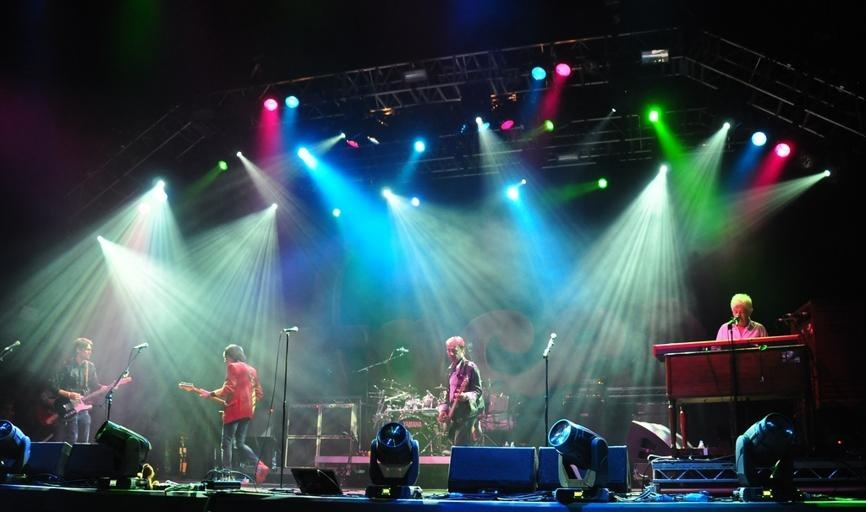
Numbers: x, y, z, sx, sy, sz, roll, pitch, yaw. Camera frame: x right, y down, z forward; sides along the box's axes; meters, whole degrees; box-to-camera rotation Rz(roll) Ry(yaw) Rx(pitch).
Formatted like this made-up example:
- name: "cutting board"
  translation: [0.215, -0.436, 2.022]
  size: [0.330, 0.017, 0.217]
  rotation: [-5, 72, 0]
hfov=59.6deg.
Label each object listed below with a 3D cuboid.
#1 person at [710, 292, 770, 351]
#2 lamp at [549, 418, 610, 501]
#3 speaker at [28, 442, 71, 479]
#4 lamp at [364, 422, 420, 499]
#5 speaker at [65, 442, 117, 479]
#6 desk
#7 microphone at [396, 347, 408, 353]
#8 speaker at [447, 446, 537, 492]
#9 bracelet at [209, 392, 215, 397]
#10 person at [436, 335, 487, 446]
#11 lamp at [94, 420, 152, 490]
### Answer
- name: "person"
  translation: [6.242, 1.410, 15.209]
  size: [1.178, 1.179, 0.682]
  rotation: [3, -1, 31]
- name: "lamp"
  translation: [2.311, 3.225, 11.935]
  size: [1.038, 1.194, 0.903]
  rotation: [14, -23, -34]
- name: "speaker"
  translation: [-6.865, 3.658, 13.496]
  size: [0.580, 0.401, 0.312]
  rotation: [-2, -24, 17]
- name: "lamp"
  translation: [-0.643, 3.247, 12.072]
  size: [0.748, 1.150, 0.337]
  rotation: [5, -21, -10]
- name: "speaker"
  translation: [-5.926, 3.542, 13.090]
  size: [0.773, 0.503, 0.754]
  rotation: [13, -24, -39]
- name: "desk"
  translation: [5.693, 2.628, 14.249]
  size: [2.648, 2.030, 1.374]
  rotation: [-8, -22, 24]
- name: "microphone"
  translation: [-0.743, 2.255, 18.193]
  size: [0.113, 0.216, 0.294]
  rotation: [-4, 2, -39]
- name: "speaker"
  translation: [0.923, 3.413, 12.120]
  size: [1.341, 0.695, 0.219]
  rotation: [-2, -20, 8]
- name: "bracelet"
  translation: [-4.801, 2.981, 16.394]
  size: [0.111, 0.101, 0.109]
  rotation: [2, -11, -12]
- name: "person"
  translation: [0.536, 2.914, 16.293]
  size: [1.109, 2.409, 0.833]
  rotation: [3, -1, -33]
- name: "lamp"
  translation: [-5.417, 3.454, 13.133]
  size: [0.832, 1.049, 0.925]
  rotation: [-14, -31, 24]
